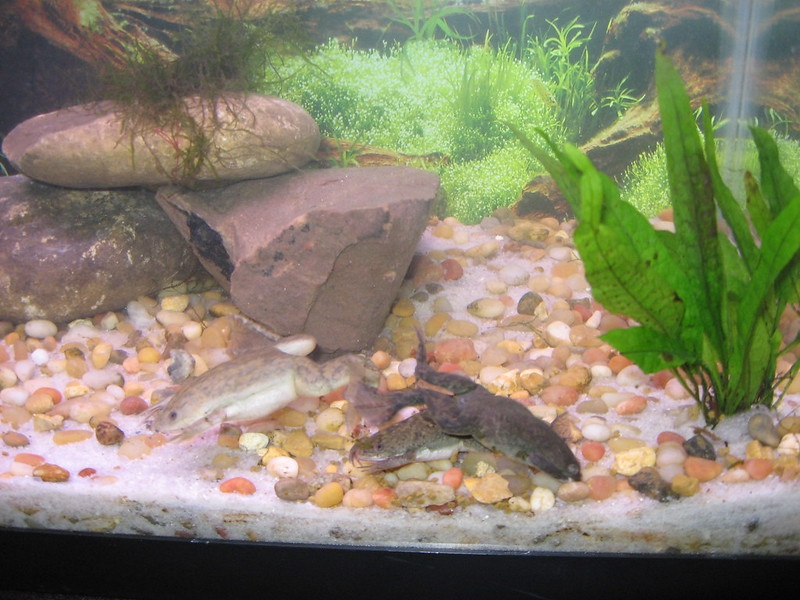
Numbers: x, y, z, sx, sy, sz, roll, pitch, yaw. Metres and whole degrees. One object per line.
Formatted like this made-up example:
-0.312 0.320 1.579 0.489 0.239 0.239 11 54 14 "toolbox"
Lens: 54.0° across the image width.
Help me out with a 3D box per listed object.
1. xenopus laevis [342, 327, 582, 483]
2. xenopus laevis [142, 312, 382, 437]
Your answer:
0.214 0.341 2.283 0.515 0.166 0.331 25 33 28 "xenopus laevis"
-0.461 0.272 2.385 0.477 0.144 0.356 -34 42 -17 "xenopus laevis"
